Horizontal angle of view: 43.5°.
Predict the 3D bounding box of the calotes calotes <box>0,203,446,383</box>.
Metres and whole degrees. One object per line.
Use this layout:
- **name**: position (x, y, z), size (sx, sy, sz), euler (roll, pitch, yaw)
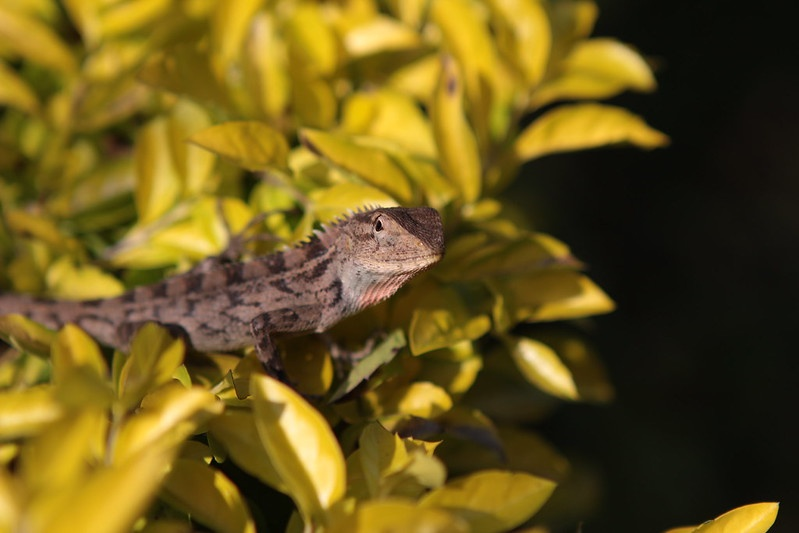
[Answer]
- **calotes calotes**: position (-0.352, -0.001, 2.273), size (0.955, 0.363, 0.392), euler (1, 46, -1)
